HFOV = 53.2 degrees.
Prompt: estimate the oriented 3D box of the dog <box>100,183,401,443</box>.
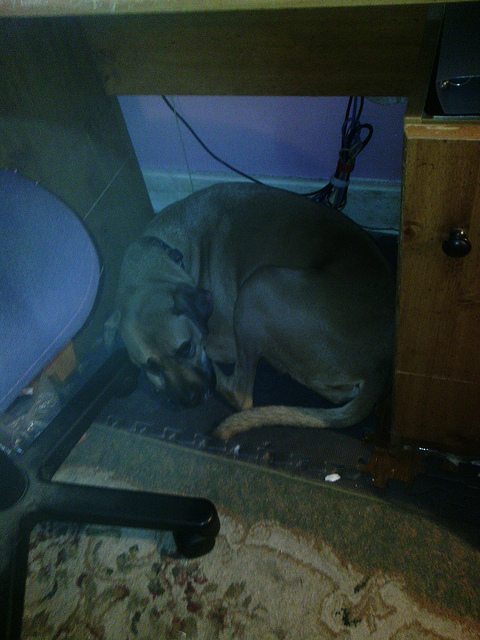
[{"bbox_3d":[0.037,-0.040,1.155,0.628,0.298,0.660,5,59,20],"label":"dog"}]
